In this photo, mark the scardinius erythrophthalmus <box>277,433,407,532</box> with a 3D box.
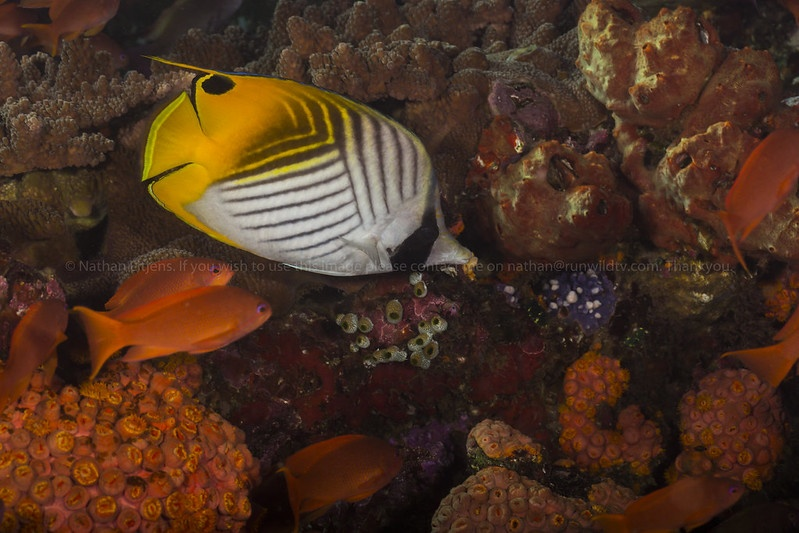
[{"bbox_3d":[-0.410,1.300,6.023,0.793,0.302,0.429,-22,52,-8],"label":"scardinius erythrophthalmus"}]

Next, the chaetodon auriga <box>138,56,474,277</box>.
[{"bbox_3d":[-0.499,-0.484,5.452,2.156,1.153,0.594,14,17,-6],"label":"chaetodon auriga"}]

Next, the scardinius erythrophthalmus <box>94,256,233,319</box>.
[{"bbox_3d":[-1.459,0.141,5.777,0.910,0.221,0.366,-14,46,-32],"label":"scardinius erythrophthalmus"}]
